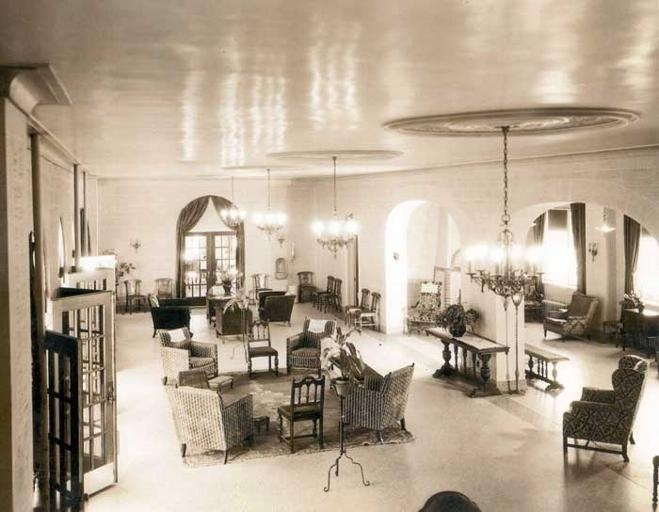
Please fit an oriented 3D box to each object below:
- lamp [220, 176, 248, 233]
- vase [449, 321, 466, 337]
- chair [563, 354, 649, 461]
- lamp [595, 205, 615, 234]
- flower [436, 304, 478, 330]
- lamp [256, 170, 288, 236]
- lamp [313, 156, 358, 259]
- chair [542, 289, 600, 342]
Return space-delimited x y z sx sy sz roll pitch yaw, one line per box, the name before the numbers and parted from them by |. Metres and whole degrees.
lamp | -2.824 -1.485 17.014 0.814 1.537 2.881 -1 7 -8
vase | 2.354 1.329 10.858 0.281 0.326 0.286 -2 0 -2
chair | 3.866 2.125 8.563 1.327 1.709 1.272 1 4 24
lamp | 6.520 -0.799 13.833 0.451 0.638 1.398 3 8 24
flower | 2.476 1.101 10.992 0.605 0.385 0.526 2 -1 -29
lamp | -1.585 -1.418 15.463 0.739 1.777 0.742 -1 2 2
lamp | 0.161 -1.164 14.592 0.983 2.367 0.858 0 7 11
chair | 6.075 1.544 15.077 1.210 1.408 1.036 0 3 -15
